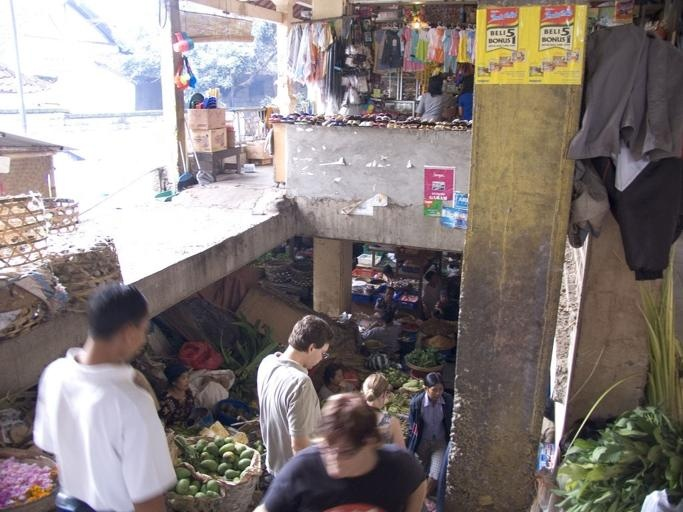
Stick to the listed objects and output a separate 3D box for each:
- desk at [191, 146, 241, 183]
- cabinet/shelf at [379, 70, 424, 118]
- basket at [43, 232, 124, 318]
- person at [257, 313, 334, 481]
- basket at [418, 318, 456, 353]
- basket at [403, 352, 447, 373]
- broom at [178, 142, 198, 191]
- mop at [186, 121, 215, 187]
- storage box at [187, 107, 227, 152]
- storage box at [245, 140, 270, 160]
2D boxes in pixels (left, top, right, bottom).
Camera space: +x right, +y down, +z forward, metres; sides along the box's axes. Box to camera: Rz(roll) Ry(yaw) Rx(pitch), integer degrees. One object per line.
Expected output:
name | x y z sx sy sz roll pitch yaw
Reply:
desk | -2.122 -1.555 8.908 0.635 0.538 1.118 5 21 18
cabinet/shelf | 1.111 -2.951 9.827 0.858 0.829 0.396 3 17 9
basket | -1.791 0.148 3.815 0.453 0.476 0.472 -14 -9 43
person | -0.305 0.898 3.361 0.466 1.008 0.528 4 14 6
basket | 1.419 1.217 8.072 0.578 0.226 1.173 3 13 11
basket | 1.108 1.455 7.233 0.513 0.340 0.433 3 13 9
broom | -2.328 -1.264 7.984 0.297 0.810 0.090 -9 36 -7
mop | -2.253 -1.596 8.536 0.391 0.970 0.346 10 20 17
storage box | -2.183 -2.010 8.615 0.394 0.704 0.738 1 11 14
storage box | -1.733 -2.193 11.313 0.461 0.284 0.465 1 10 12
